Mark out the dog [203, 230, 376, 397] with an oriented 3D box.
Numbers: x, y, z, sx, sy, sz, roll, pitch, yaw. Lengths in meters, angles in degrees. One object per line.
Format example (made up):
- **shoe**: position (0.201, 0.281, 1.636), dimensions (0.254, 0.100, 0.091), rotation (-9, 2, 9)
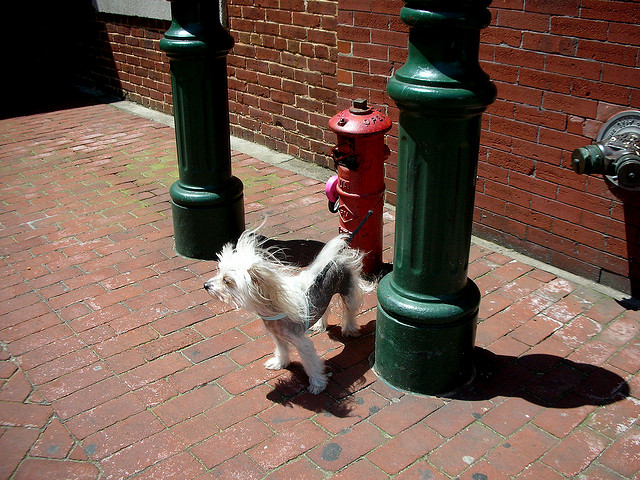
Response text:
- **dog**: position (-0.193, 0.398, 4.147), dimensions (0.823, 1.123, 0.936), rotation (11, 35, 19)
